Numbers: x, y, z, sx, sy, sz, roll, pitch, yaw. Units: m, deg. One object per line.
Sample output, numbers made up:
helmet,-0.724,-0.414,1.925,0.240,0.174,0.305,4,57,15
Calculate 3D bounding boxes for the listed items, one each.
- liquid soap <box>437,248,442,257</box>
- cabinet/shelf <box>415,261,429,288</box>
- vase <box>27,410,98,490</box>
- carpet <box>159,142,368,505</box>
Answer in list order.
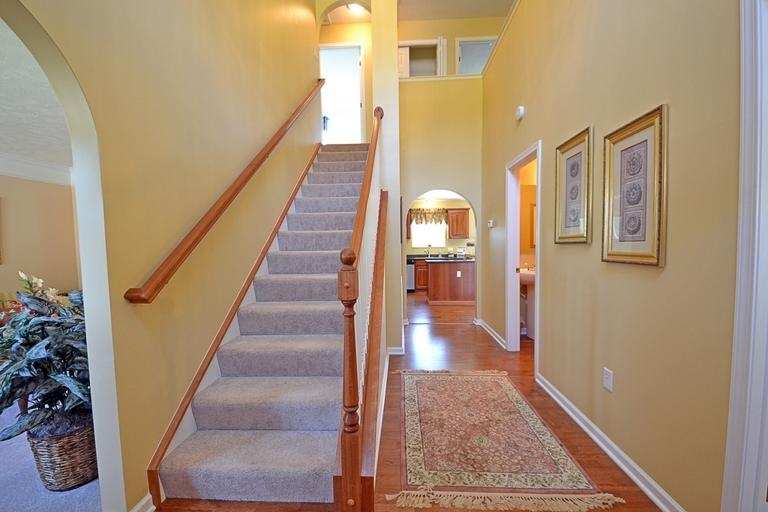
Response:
liquid soap,1.139,-0.080,11.141,0.110,0.203,0.216,-1,3,2
cabinet/shelf,0.738,0.381,10.805,0.207,0.618,0.104,1,3,-2
vase,-2.301,1.414,3.794,0.427,0.385,0.409,-10,3,42
carpet,-0.968,0.582,4.012,0.725,0.902,2.660,0,21,1
